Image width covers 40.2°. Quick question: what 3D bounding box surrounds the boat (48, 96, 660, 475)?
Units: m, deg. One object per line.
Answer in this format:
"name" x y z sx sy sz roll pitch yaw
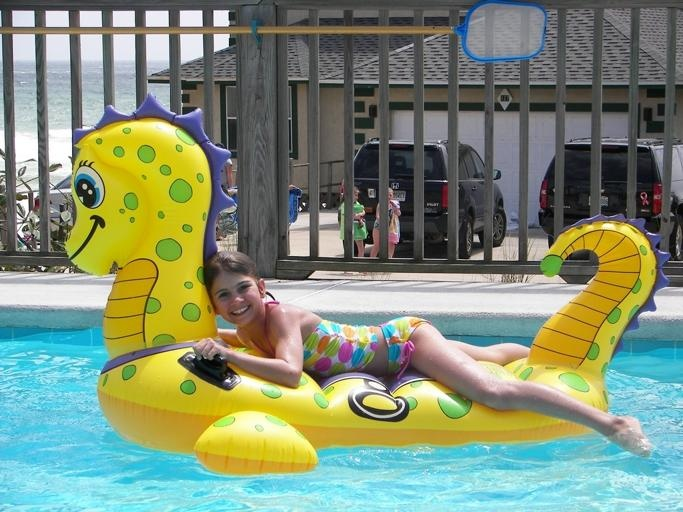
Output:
"boat" 0.606 0.048 7.869 5.458 2.168 4.802 1 3 -16

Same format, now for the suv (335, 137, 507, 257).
"suv" 1.454 -0.963 14.047 1.322 1.170 2.618 2 10 20

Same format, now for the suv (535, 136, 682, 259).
"suv" 3.688 -0.977 12.690 1.389 1.464 2.704 2 11 22
